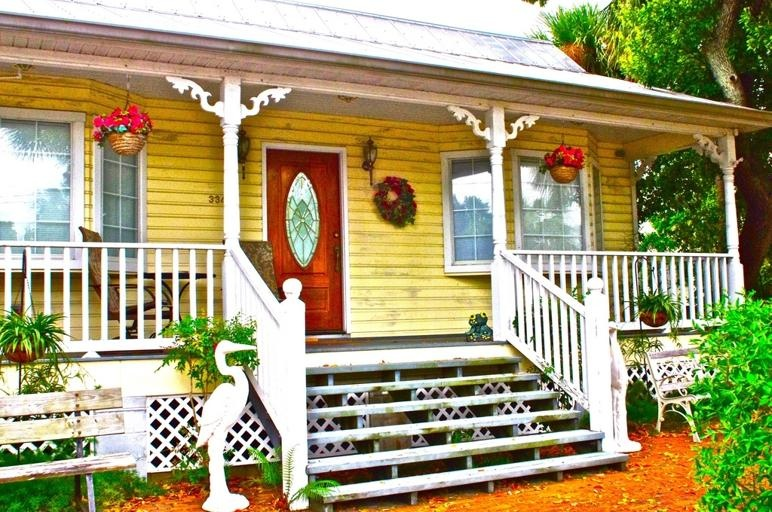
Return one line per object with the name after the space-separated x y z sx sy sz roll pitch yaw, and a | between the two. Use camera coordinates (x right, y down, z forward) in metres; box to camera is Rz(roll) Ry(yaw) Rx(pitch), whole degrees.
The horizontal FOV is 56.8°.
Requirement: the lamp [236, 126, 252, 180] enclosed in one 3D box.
-2.076 -1.529 10.447 0.189 0.490 0.187 -2 -1 -11 | lamp

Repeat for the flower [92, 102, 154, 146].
-3.106 -1.585 8.675 0.523 0.255 0.540 -11 0 33 | flower

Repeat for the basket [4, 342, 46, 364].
-3.866 1.049 7.666 0.272 0.168 0.276 1 -4 -1 | basket

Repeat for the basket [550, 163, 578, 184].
2.636 -1.234 10.749 0.309 0.175 0.305 1 -3 -6 | basket

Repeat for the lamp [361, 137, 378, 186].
-0.234 -1.472 11.132 0.262 0.564 0.154 -2 -1 -13 | lamp

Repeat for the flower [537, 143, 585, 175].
2.636 -1.463 10.794 0.548 0.386 0.545 -15 9 -8 | flower

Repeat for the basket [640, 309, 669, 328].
3.969 0.923 10.515 0.307 0.204 0.304 2 -6 8 | basket

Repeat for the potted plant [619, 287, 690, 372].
3.901 1.016 10.533 0.661 1.102 0.805 -7 -8 39 | potted plant

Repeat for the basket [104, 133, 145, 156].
-3.162 -1.354 8.583 0.321 0.141 0.317 2 -4 -44 | basket
